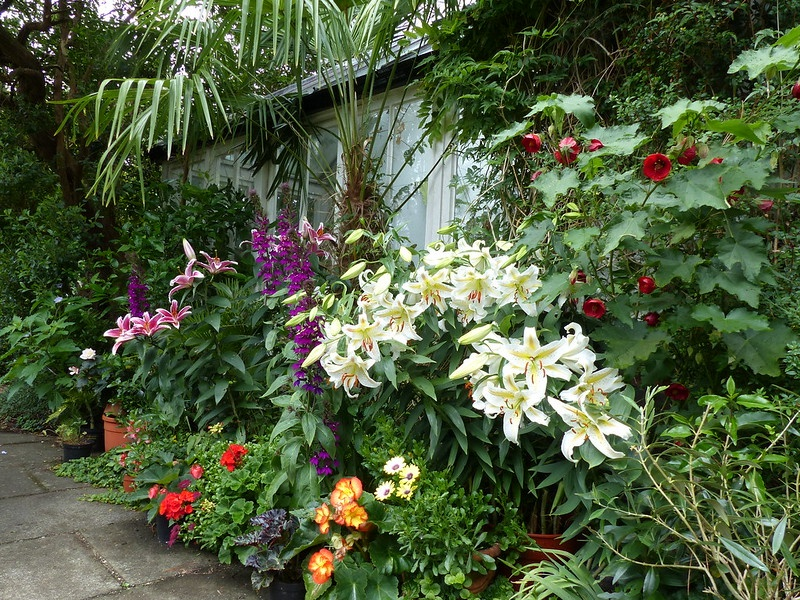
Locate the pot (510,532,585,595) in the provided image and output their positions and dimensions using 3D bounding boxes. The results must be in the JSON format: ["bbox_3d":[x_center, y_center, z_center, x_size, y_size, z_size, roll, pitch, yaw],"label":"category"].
[{"bbox_3d":[0.592,1.035,2.404,0.245,0.201,0.261,0,-10,0],"label":"pot"}]

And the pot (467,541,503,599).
[{"bbox_3d":[0.334,1.094,2.455,0.149,0.160,0.165,5,-3,-2],"label":"pot"}]

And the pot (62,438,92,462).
[{"bbox_3d":[-2.197,1.011,4.044,0.131,0.094,0.137,0,-10,0],"label":"pot"}]

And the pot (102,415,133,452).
[{"bbox_3d":[-1.850,0.867,3.929,0.215,0.208,0.220,5,-5,0],"label":"pot"}]

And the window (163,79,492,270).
[{"bbox_3d":[-0.696,-0.973,4.761,2.050,1.488,0.188,-4,-13,34],"label":"window"}]
